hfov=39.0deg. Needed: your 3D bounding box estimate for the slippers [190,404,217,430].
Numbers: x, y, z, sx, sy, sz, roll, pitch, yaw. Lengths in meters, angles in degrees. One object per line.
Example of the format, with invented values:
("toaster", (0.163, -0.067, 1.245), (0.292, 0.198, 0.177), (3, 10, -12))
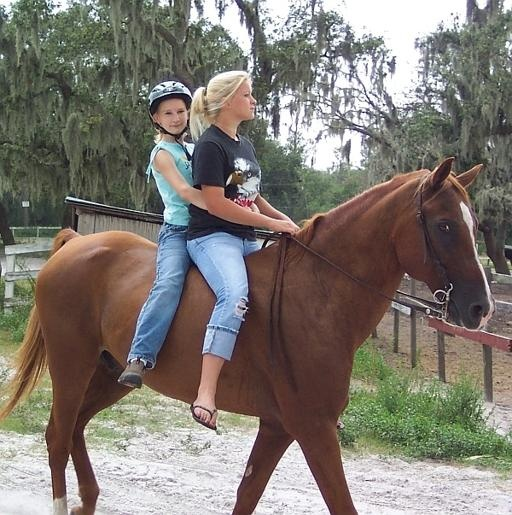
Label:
("slippers", (-0.319, 0.967, 4.405), (0.149, 0.158, 0.240), (4, 0, -8))
